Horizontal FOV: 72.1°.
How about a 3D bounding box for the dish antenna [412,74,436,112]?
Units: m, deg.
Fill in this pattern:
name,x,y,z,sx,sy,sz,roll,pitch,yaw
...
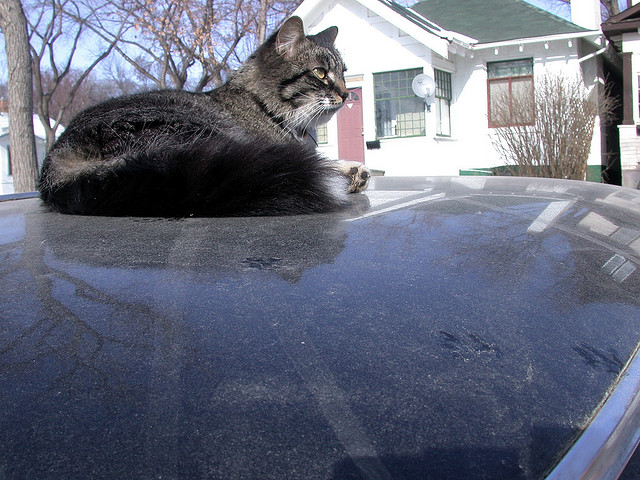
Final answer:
name,x,y,z,sx,sy,sz,roll,pitch,yaw
dish antenna,2.839,-3.980,11.962,0.552,0.818,0.334,1,3,0
